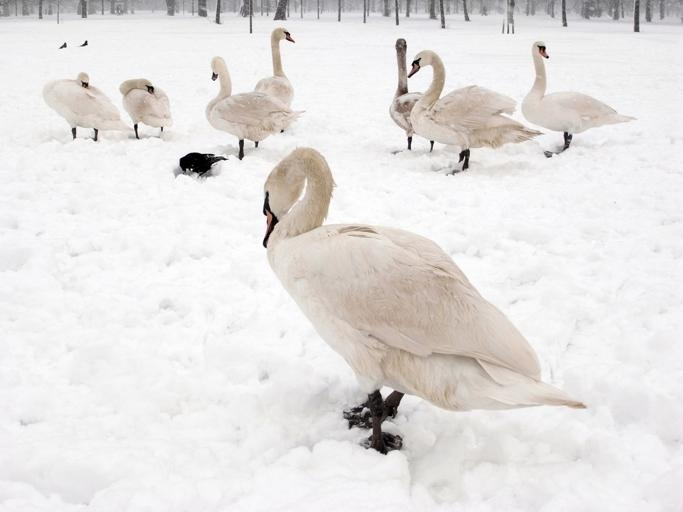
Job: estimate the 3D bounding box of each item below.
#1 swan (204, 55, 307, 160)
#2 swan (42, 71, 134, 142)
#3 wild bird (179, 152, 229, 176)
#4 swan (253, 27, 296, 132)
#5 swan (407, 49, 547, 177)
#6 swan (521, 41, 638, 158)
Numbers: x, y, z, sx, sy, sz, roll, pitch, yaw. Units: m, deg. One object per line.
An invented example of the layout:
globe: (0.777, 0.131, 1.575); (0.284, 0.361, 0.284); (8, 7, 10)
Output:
swan: (-1.411, -2.532, 13.086); (1.438, 1.891, 1.541); (2, 27, -4)
swan: (-4.245, -2.462, 13.178); (1.372, 1.061, 0.701); (10, 19, 26)
wild bird: (-2.113, -1.443, 12.183); (0.671, 0.319, 0.278); (-15, -15, 1)
swan: (-1.115, -3.300, 14.654); (0.917, 2.045, 0.973); (-1, 27, -10)
swan: (1.679, -2.217, 12.165); (2.502, 2.113, 1.186); (9, 24, 29)
swan: (3.617, -2.461, 12.995); (1.405, 1.891, 1.442); (-9, 33, -23)
